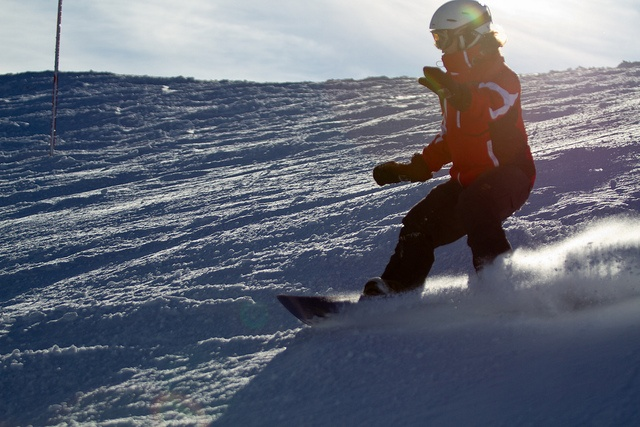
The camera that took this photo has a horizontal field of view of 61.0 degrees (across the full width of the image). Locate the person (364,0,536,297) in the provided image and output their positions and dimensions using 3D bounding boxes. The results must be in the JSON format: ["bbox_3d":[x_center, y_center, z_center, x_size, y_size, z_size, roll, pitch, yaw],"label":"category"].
[{"bbox_3d":[1.152,-0.554,4.427,1.123,2.341,0.857,3,10,24],"label":"person"}]

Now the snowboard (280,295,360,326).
[{"bbox_3d":[-0.022,0.806,4.507,0.663,0.287,0.150,0,9,3],"label":"snowboard"}]

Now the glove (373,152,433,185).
[{"bbox_3d":[0.745,-0.392,4.904,0.481,0.165,0.267,-5,31,-6],"label":"glove"}]
